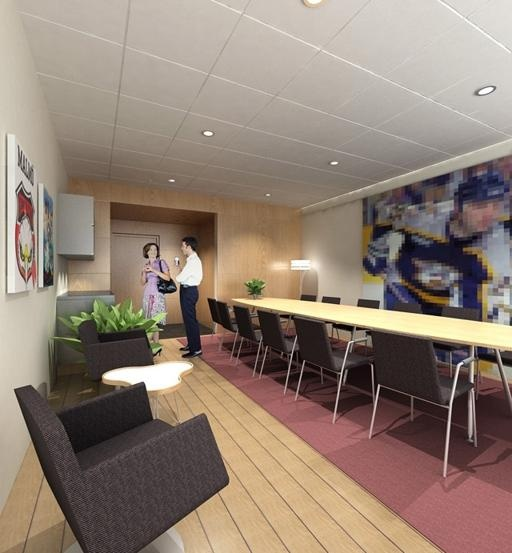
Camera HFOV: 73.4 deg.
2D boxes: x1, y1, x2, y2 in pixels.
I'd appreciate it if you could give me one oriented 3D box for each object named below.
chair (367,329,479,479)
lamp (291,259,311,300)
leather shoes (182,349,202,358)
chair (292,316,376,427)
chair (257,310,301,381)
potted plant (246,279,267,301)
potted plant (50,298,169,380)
[{"bbox_3d":[1.123,0.752,2.338,0.551,0.824,0.554,-6,6,-33],"label":"chair"},{"bbox_3d":[0.899,0.019,6.992,0.415,0.723,0.631,0,2,6],"label":"lamp"},{"bbox_3d":[-0.869,1.037,4.652,0.238,0.104,0.098,5,-3,-18],"label":"leather shoes"},{"bbox_3d":[0.594,0.733,3.254,0.790,1.213,0.742,-1,-1,-30],"label":"chair"},{"bbox_3d":[0.279,0.649,3.440,0.431,0.719,0.398,-12,13,-41],"label":"chair"},{"bbox_3d":[0.023,0.197,5.332,0.315,0.329,0.338,1,-2,-16],"label":"potted plant"},{"bbox_3d":[-1.268,0.497,3.280,0.831,0.496,0.783,16,10,34],"label":"potted plant"}]
